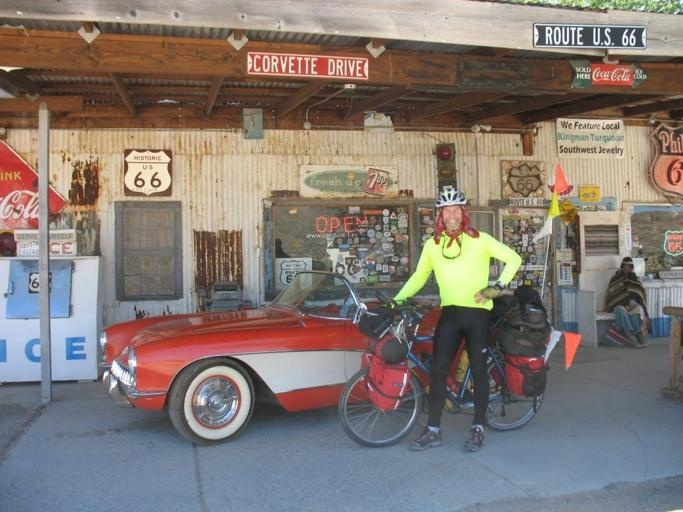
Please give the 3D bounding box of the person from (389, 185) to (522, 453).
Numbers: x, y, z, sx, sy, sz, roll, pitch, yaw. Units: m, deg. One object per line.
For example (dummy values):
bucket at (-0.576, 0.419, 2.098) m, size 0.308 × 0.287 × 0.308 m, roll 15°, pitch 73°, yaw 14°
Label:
person at (1.193, 0.620, 7.097) m, size 1.094 × 2.536 × 0.603 m, roll 0°, pitch 8°, yaw 4°

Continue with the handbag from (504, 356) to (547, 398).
handbag at (1.856, 1.204, 7.341) m, size 0.349 × 0.519 × 0.397 m, roll 22°, pitch -11°, yaw -1°

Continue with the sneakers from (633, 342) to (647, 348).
sneakers at (4.745, 1.423, 11.229) m, size 0.195 × 0.095 × 0.076 m, roll -4°, pitch 4°, yaw 9°

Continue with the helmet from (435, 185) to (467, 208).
helmet at (1.287, -0.727, 8.488) m, size 0.414 × 0.249 × 0.640 m, roll -2°, pitch 12°, yaw 13°

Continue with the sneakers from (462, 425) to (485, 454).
sneakers at (1.317, 1.815, 7.021) m, size 0.190 × 0.238 × 0.149 m, roll 1°, pitch 9°, yaw 7°

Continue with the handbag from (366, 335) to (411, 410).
handbag at (0.467, 1.146, 6.941) m, size 0.407 × 0.707 × 0.240 m, roll 0°, pitch 8°, yaw 5°

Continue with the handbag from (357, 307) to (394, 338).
handbag at (0.349, 0.663, 7.016) m, size 0.245 × 0.141 × 0.356 m, roll 13°, pitch 50°, yaw 40°
